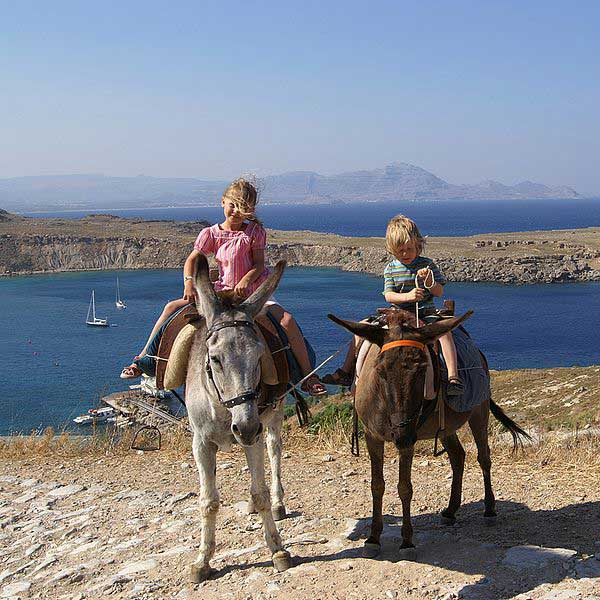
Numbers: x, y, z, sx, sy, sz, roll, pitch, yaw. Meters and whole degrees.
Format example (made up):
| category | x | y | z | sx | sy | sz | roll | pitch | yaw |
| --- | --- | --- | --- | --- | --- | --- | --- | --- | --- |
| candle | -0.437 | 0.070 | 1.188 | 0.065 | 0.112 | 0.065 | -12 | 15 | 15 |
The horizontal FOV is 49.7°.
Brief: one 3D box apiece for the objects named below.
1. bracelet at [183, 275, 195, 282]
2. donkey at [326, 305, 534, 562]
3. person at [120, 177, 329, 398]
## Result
| category | x | y | z | sx | sy | sz | roll | pitch | yaw |
| --- | --- | --- | --- | --- | --- | --- | --- | --- | --- |
| bracelet | -1.113 | -0.205 | 6.471 | 0.101 | 0.048 | 0.093 | -2 | 1 | 2 |
| donkey | 1.244 | 1.261 | 6.413 | 1.289 | 2.243 | 2.002 | -7 | 0 | 15 |
| person | -0.805 | -0.434 | 6.714 | 1.355 | 2.741 | 1.411 | 0 | 1 | -1 |
